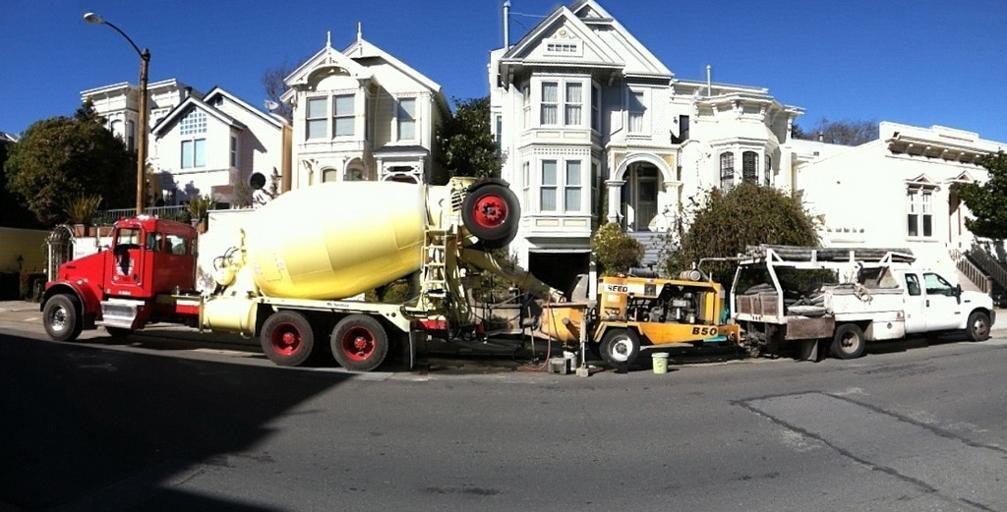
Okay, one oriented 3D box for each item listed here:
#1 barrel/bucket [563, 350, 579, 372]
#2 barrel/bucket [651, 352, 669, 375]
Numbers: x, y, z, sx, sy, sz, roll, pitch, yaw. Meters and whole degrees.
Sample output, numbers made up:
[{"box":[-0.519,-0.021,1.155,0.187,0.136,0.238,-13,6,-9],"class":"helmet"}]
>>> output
[{"box":[2.676,4.094,30.035,0.652,0.744,0.655,-1,5,0],"class":"barrel/bucket"},{"box":[6.225,4.180,29.978,0.739,0.748,0.736,0,-9,0],"class":"barrel/bucket"}]
